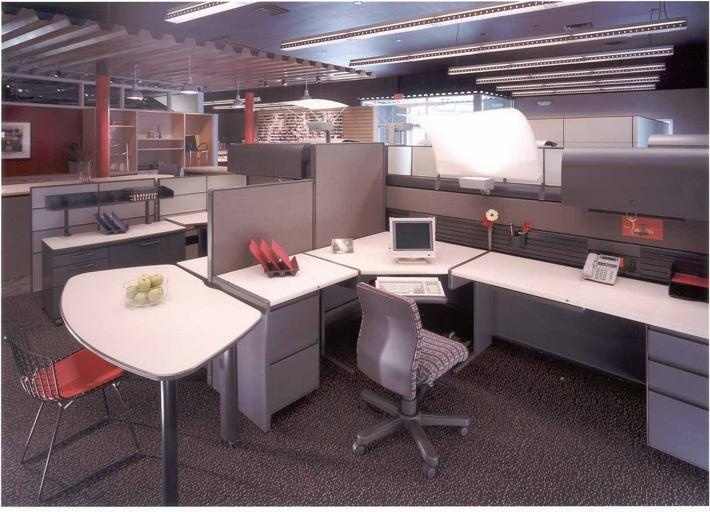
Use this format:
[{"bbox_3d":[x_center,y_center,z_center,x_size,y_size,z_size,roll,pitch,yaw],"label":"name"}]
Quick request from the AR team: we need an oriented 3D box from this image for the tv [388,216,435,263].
[{"bbox_3d":[0.561,-0.159,4.763,0.435,0.390,0.262,-1,-10,8],"label":"tv"}]

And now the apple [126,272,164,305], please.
[{"bbox_3d":[-1.580,0.251,3.790,0.284,0.203,0.211,-2,14,-12],"label":"apple"}]

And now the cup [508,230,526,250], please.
[{"bbox_3d":[1.540,-0.144,4.716,0.147,0.153,0.145,0,3,0],"label":"cup"}]
